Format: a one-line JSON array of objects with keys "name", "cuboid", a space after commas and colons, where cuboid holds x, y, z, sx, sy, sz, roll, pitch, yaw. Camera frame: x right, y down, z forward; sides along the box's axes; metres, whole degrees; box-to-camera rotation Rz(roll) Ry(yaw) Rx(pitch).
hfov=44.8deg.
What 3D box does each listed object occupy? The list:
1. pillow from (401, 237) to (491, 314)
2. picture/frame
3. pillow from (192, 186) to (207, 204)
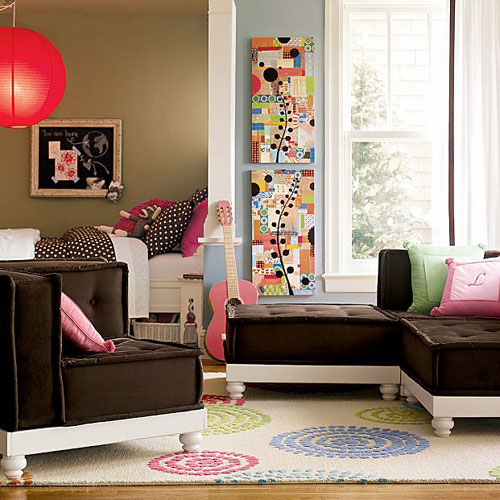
[{"name": "pillow", "cuboid": [1.163, 0.165, 3.572, 0.510, 0.394, 0.175, -2, -1, -8]}, {"name": "picture/frame", "cuboid": [-1.651, -0.902, 5.816, 0.964, 0.730, 0.071, 0, -2, 0]}, {"name": "pillow", "cuboid": [-0.387, -0.413, 4.784, 0.040, 0.084, 0.159, 9, -24, -40]}]
